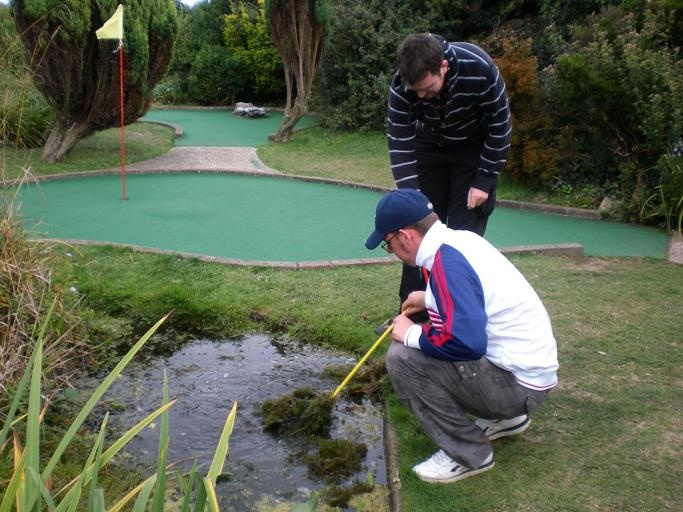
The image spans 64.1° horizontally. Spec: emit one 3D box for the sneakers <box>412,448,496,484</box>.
[{"bbox_3d":[0.620,1.150,3.130,0.470,0.239,0.180,-1,7,0],"label":"sneakers"}]

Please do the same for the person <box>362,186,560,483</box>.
[{"bbox_3d":[0.704,0.413,3.235,0.901,1.532,0.992,-9,9,-14],"label":"person"}]

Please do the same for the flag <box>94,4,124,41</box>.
[{"bbox_3d":[-3.666,-3.758,8.835,0.507,0.537,0.443,12,15,23],"label":"flag"}]

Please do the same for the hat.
[{"bbox_3d":[0.291,-0.230,3.072,0.447,0.274,0.313,-23,13,5],"label":"hat"}]

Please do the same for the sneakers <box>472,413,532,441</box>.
[{"bbox_3d":[0.917,0.985,3.152,0.311,0.160,0.122,-9,35,-4],"label":"sneakers"}]
